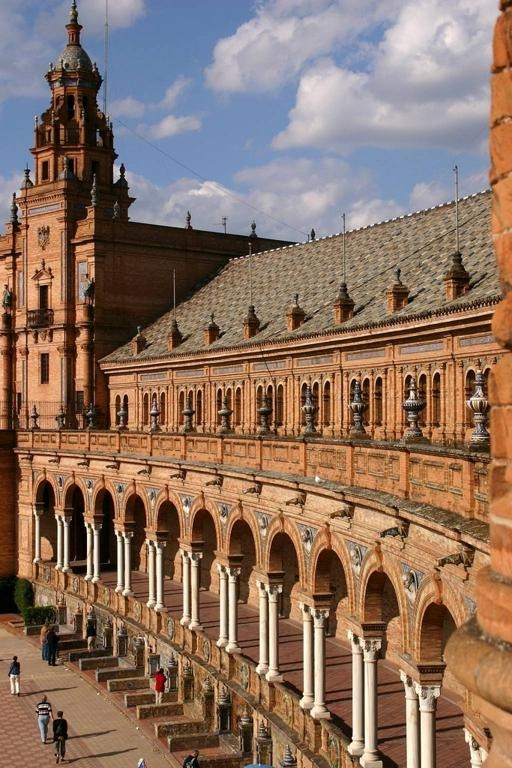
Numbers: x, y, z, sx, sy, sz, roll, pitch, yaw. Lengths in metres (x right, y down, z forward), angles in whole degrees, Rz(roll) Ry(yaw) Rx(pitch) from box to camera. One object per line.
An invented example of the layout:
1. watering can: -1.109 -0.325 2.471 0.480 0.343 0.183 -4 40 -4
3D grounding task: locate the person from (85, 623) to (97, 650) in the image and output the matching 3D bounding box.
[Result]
1. person: -6.664 10.055 43.664 0.425 0.978 1.138 11 -8 -10
